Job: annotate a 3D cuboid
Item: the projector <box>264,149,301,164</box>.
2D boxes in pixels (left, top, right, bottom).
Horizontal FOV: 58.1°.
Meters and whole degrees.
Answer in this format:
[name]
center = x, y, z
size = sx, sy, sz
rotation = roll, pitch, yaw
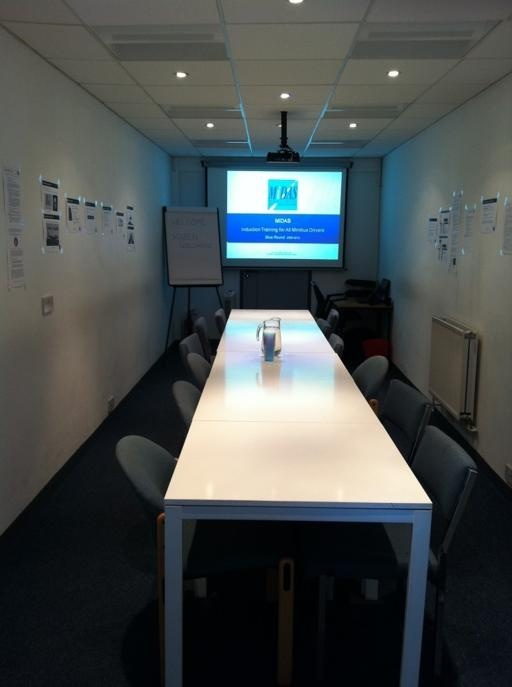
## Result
[projector]
center = 0.268, -1.833, 4.530
size = 0.316, 0.142, 0.109
rotation = 0, 4, -9
